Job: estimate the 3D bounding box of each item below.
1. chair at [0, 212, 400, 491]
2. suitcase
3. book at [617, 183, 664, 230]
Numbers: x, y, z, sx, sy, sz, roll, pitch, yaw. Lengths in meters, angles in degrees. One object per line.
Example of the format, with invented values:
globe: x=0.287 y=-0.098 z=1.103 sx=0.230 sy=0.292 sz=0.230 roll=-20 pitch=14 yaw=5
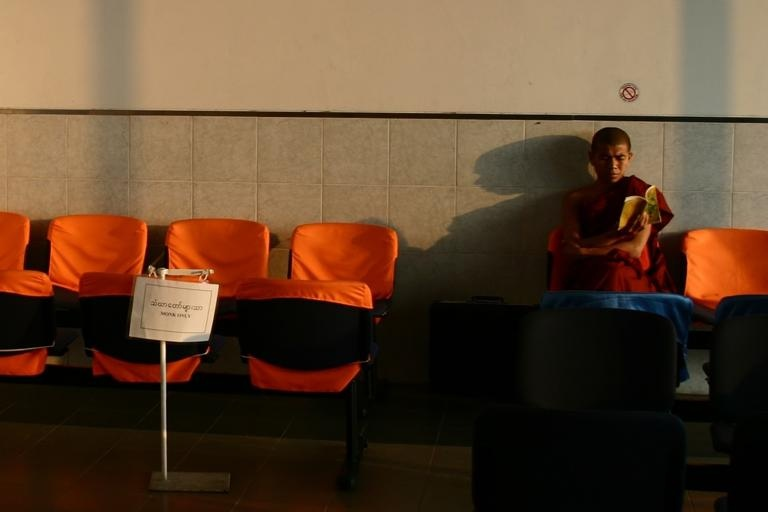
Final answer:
chair: x=-0.831 y=0.545 z=4.871 sx=1.796 sy=1.406 sz=1.481 roll=1 pitch=8 yaw=0
suitcase: x=0.700 y=0.584 z=5.465 sx=0.721 sy=0.642 sz=0.717 roll=2 pitch=4 yaw=12
book: x=1.725 y=-0.323 z=5.014 sx=0.285 sy=0.279 sz=0.110 roll=-1 pitch=-7 yaw=13
